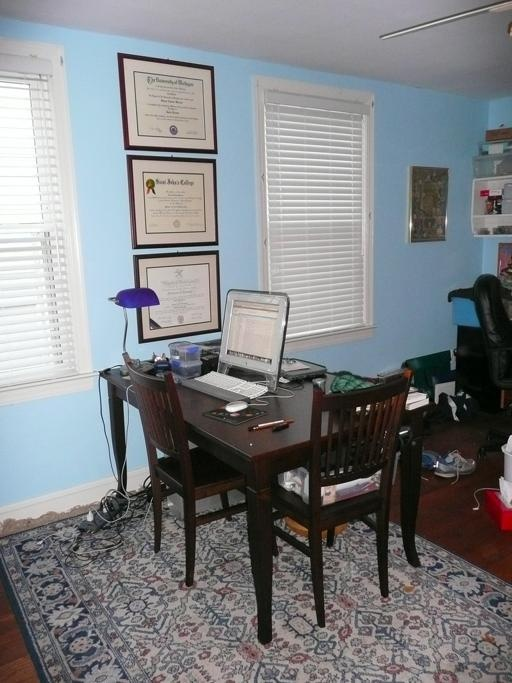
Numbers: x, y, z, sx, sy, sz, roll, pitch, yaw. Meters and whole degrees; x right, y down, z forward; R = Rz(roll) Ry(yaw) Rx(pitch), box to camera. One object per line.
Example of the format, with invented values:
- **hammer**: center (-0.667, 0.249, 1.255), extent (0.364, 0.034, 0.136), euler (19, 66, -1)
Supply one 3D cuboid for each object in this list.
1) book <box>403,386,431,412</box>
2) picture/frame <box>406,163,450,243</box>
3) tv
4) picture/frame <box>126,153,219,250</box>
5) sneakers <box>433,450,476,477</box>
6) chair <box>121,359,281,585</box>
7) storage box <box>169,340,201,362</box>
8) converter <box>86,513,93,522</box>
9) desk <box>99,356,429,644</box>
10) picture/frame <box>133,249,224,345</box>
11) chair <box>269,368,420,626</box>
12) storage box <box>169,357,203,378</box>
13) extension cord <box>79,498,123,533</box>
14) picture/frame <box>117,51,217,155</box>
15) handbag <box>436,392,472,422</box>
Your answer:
- **book**: center (0.651, 0.231, 2.219), extent (0.098, 0.023, 0.096), euler (-8, 15, -28)
- **picture/frame**: center (1.338, -1.108, 4.257), extent (0.621, 0.678, 0.074), euler (-13, 18, -43)
- **tv**: center (-0.013, 0.010, 2.425), extent (0.049, 0.421, 0.422), euler (6, 9, -38)
- **picture/frame**: center (-0.475, -0.768, 2.915), extent (0.549, 0.488, 0.035), euler (-9, 15, -37)
- **sneakers**: center (1.182, 0.721, 3.204), extent (0.237, 0.113, 0.117), euler (-8, 12, -30)
- **chair**: center (-0.207, 0.531, 2.178), extent (0.560, 1.147, 0.531), euler (-15, 24, -32)
- **storage box**: center (-0.348, 0.022, 2.686), extent (0.095, 0.069, 0.140), euler (-11, 17, -31)
- **converter**: center (-0.837, 0.886, 2.709), extent (0.018, 0.032, 0.033), euler (-2, -1, -36)
- **desk**: center (0.068, 0.752, 2.304), extent (0.847, 0.803, 1.379), euler (-15, 21, -36)
- **picture/frame**: center (-0.451, -0.252, 2.983), extent (0.505, 0.488, 0.018), euler (-12, 17, -29)
- **chair**: center (0.307, 0.542, 1.961), extent (0.527, 0.891, 0.396), euler (-9, 11, -39)
- **storage box**: center (-0.336, 0.122, 2.686), extent (0.093, 0.096, 0.142), euler (-6, 11, -41)
- **extension cord**: center (-0.777, 0.874, 2.709), extent (0.099, 0.054, 0.170), euler (5, 25, 39)
- **picture/frame**: center (-0.488, -1.255, 2.809), extent (0.606, 0.491, 0.032), euler (-9, 15, -36)
- **handbag**: center (1.497, 0.500, 4.077), extent (0.244, 0.193, 0.171), euler (0, 9, 16)
